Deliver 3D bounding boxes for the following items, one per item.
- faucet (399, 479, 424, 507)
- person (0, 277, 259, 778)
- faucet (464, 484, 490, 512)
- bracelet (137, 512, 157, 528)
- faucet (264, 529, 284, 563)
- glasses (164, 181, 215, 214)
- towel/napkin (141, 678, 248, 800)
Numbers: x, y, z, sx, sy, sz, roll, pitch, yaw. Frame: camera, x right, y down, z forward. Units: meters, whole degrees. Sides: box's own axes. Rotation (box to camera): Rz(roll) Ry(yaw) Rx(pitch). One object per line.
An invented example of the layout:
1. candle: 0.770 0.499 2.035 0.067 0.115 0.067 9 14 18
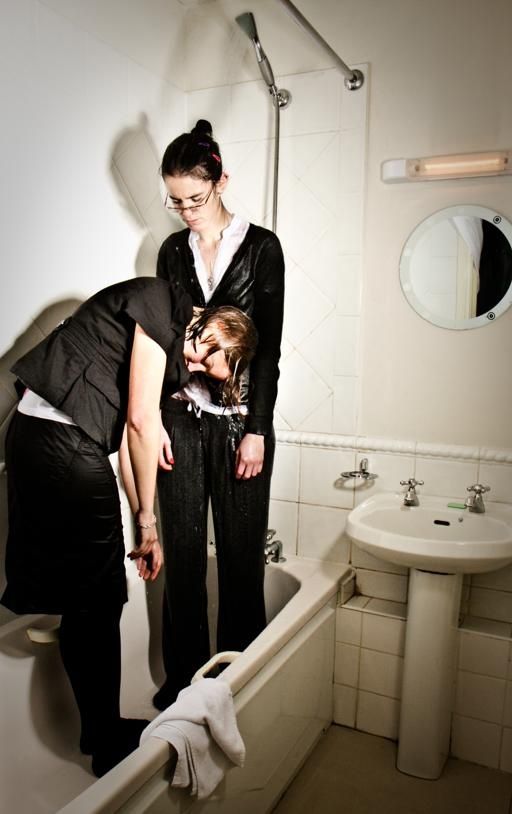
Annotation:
1. faucet: 0.472 0.261 1.902 0.074 0.094 0.078 1 -2 -4
2. person: -0.342 0.284 1.298 0.411 1.110 0.279 0 4 -7
3. faucet: 0.637 0.268 1.773 0.053 0.090 0.082 -4 -6 42
4. bracelet: -0.250 0.249 1.367 0.033 0.017 0.042 1 -3 -34
5. faucet: 0.053 0.476 2.085 0.056 0.094 0.142 -3 -10 13
6. glasses: -0.182 -0.585 1.698 0.120 0.080 0.063 1 4 8
7. towel/napkin: -0.115 0.623 1.126 0.114 0.188 0.209 3 5 38
